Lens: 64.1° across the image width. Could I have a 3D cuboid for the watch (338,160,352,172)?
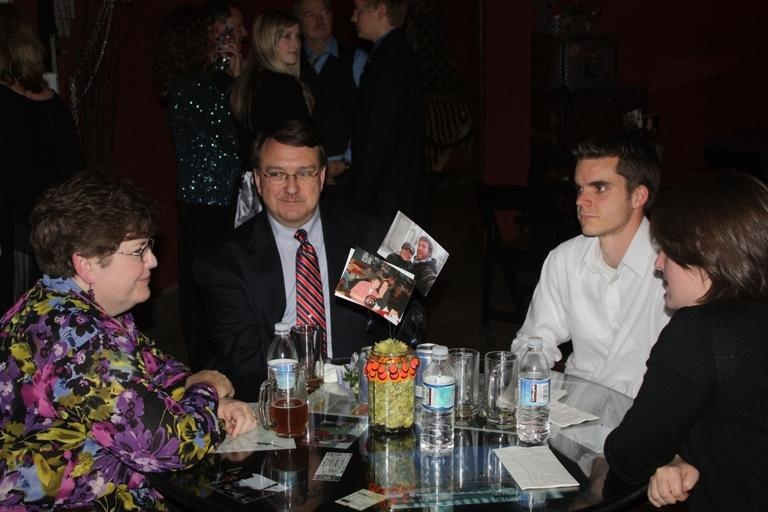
[{"bbox_3d":[-0.258,-0.567,3.851,0.088,0.035,0.065,7,34,21],"label":"watch"}]
